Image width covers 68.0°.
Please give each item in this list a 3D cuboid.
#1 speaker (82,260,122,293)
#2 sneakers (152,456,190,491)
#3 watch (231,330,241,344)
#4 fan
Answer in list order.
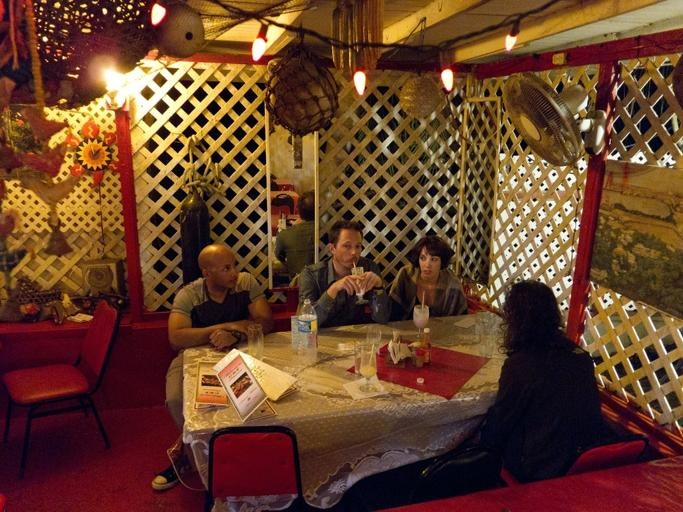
[{"bbox_3d":[-1.669,0.130,3.616,0.286,0.293,0.208,-2,8,-15],"label":"speaker"},{"bbox_3d":[-0.939,1.186,2.827,0.086,0.105,0.240,21,13,22],"label":"sneakers"},{"bbox_3d":[-0.543,0.418,2.612,0.024,0.060,0.052,-6,10,-12],"label":"watch"},{"bbox_3d":[0.996,-0.675,2.530,0.409,0.432,0.289,6,7,40],"label":"fan"}]
